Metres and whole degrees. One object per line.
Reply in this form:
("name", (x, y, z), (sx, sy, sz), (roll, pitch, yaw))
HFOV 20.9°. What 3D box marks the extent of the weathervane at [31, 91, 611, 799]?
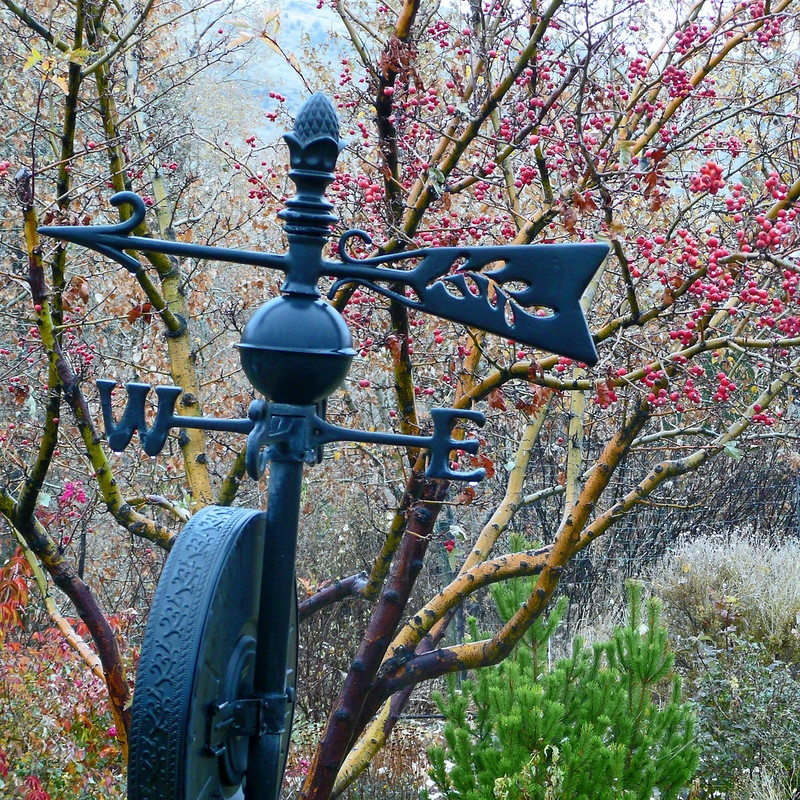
("weathervane", (-0.583, 0.297, 11.476), (2.561, 3.783, 0.577), (9, -8, -3))
